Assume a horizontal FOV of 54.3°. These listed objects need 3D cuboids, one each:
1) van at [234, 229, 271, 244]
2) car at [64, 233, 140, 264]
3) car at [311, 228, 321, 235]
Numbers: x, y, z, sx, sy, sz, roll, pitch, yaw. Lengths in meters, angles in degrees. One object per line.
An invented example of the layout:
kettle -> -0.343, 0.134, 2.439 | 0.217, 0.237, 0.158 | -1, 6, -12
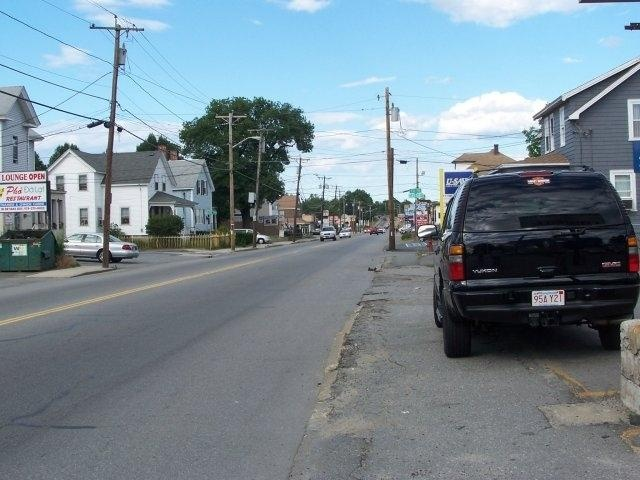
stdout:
van -> -7.489, -0.297, 69.147 | 3.747, 1.325, 1.832 | -1, 5, 5
car -> -11.741, 0.420, 33.272 | 4.079, 1.049, 1.629 | 3, 3, 19
car -> -0.859, -1.543, 117.525 | 1.849, 0.824, 2.486 | 0, 0, 2
